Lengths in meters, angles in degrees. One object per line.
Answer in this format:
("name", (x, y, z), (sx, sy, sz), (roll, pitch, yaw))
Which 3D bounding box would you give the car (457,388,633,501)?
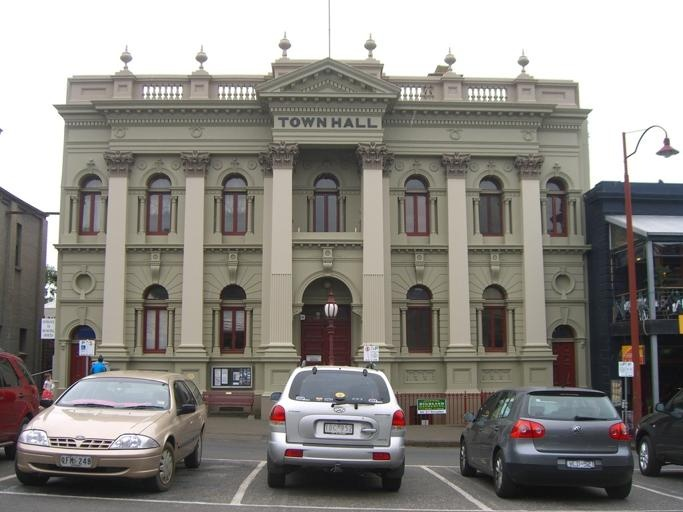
("car", (4.060, 3.752, 14.553), (3.230, 2.241, 2.123), (2, 1, 28))

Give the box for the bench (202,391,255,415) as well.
("bench", (-4.466, 5.915, 29.081), (1.984, 0.996, 1.054), (1, 1, -7))

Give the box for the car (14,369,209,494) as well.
("car", (-4.250, 3.489, 14.375), (2.438, 1.944, 3.558), (2, 1, 34))
